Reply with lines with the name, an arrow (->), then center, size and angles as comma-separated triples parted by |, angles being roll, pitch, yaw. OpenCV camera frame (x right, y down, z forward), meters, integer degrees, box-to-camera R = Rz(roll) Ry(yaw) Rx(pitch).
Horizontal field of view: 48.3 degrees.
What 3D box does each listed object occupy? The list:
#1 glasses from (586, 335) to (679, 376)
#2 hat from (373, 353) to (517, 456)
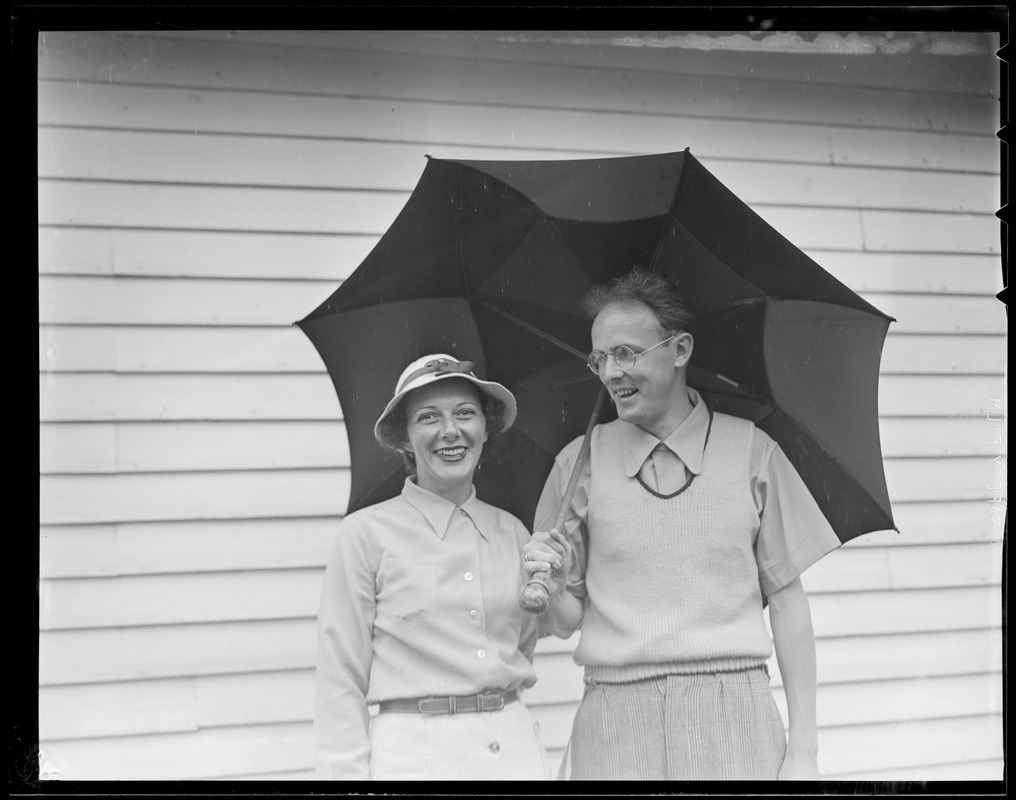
glasses -> 0.332, -0.115, 2.981 | 0.237, 0.127, 0.109 | 2, -6, 9
hat -> -0.192, 0.072, 2.976 | 0.277, 0.145, 0.306 | 6, -40, -28
